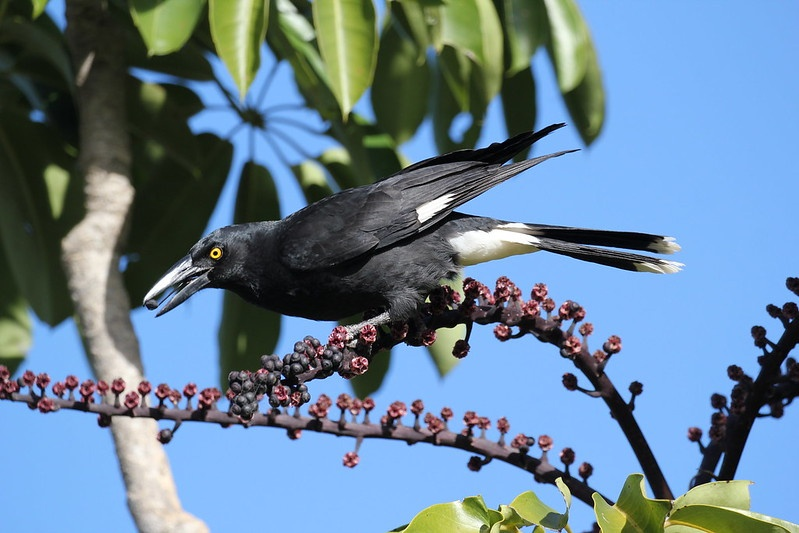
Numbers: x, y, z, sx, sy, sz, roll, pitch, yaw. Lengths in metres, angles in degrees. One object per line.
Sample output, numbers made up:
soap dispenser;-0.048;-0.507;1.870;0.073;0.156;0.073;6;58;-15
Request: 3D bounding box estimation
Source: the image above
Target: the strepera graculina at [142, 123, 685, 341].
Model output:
strepera graculina;-0.244;-0.239;7.545;2.780;0.723;1.002;-15;-58;17
